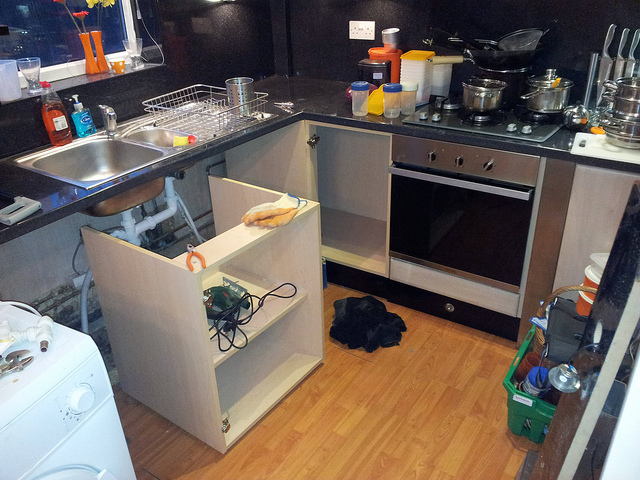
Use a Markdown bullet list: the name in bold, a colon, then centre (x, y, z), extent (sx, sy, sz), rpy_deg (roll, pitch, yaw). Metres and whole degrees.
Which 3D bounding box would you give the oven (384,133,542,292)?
- **oven**: centre (0.907, -0.125, 2.845), extent (0.624, 0.844, 0.877), rpy_deg (-13, 21, -38)

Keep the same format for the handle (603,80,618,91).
- **handle**: centre (1.338, -0.706, 2.296), extent (0.072, 0.023, 0.073), rpy_deg (8, 21, -4)

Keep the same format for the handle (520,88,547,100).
- **handle**: centre (1.087, -0.730, 2.533), extent (0.114, 0.050, 0.063), rpy_deg (-3, 20, 8)

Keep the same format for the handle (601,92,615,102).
- **handle**: centre (1.331, -0.656, 2.305), extent (0.044, 0.040, 0.130), rpy_deg (10, 33, 19)

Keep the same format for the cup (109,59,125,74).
- **cup**: centre (-1.115, -0.949, 2.760), extent (0.072, 0.060, 0.076), rpy_deg (3, 41, -2)

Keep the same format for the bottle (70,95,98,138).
- **bottle**: centre (-1.219, -0.636, 2.563), extent (0.077, 0.195, 0.124), rpy_deg (4, 31, 11)

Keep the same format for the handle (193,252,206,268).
- **handle**: centre (-0.468, 0.078, 1.961), extent (0.041, 0.010, 0.065), rpy_deg (-11, 35, -16)

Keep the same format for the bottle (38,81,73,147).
- **bottle**: centre (-1.314, -0.628, 2.461), extent (0.109, 0.329, 0.091), rpy_deg (-23, 52, -28)

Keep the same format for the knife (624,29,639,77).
- **knife**: centre (1.581, -0.928, 2.505), extent (0.046, 0.210, 0.130), rpy_deg (15, 35, 27)

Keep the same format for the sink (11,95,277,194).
- **sink**: centre (-0.865, -0.504, 2.641), extent (0.691, 0.242, 1.191), rpy_deg (20, 37, 32)

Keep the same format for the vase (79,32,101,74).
- **vase**: centre (-1.263, -1.020, 2.733), extent (0.075, 0.207, 0.091), rpy_deg (23, 38, 35)

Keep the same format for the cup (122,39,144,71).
- **cup**: centre (-1.063, -1.064, 2.863), extent (0.096, 0.143, 0.139), rpy_deg (-12, 32, -17)

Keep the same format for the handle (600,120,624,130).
- **handle**: centre (1.320, -0.522, 2.256), extent (0.029, 0.032, 0.123), rpy_deg (-7, 31, -9)

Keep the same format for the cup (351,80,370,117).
- **cup**: centre (0.227, -0.785, 2.788), extent (0.099, 0.166, 0.139), rpy_deg (0, 31, 3)
